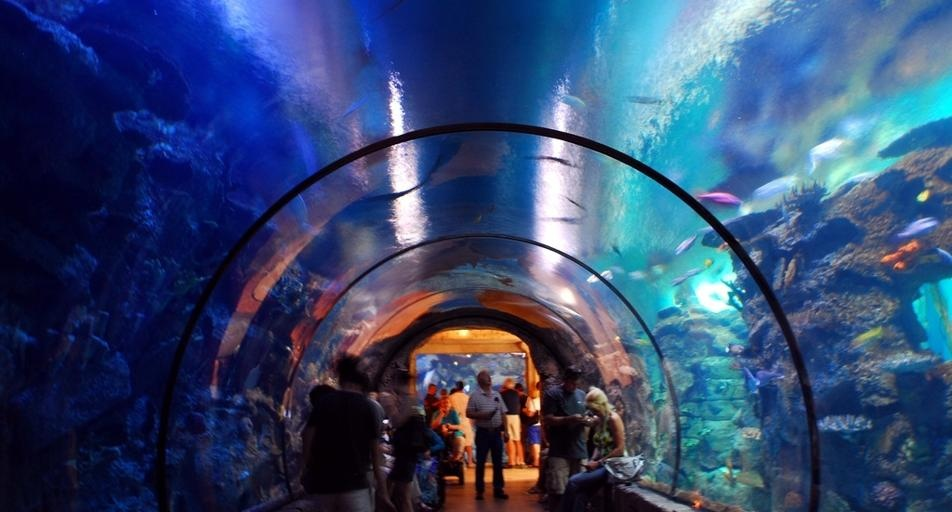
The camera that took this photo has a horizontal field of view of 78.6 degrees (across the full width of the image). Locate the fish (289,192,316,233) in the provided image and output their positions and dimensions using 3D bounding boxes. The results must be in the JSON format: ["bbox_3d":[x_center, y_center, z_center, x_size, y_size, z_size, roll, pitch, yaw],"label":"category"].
[{"bbox_3d":[-2.533,-0.610,8.482,0.260,0.106,0.612,-18,-25,-10],"label":"fish"}]

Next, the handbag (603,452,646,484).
[{"bbox_3d":[2.812,4.019,11.038,0.648,0.319,0.606,1,-18,-10],"label":"handbag"}]
